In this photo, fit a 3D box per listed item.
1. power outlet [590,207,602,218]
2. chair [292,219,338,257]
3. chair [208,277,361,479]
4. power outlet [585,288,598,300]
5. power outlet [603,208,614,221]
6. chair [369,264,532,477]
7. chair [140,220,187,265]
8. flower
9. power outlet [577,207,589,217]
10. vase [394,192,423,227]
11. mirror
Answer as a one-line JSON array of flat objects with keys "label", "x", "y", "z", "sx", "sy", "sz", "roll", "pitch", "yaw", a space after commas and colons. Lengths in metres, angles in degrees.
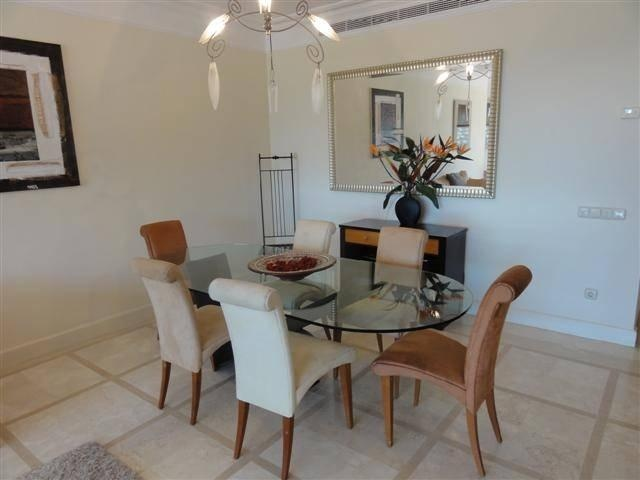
[{"label": "power outlet", "x": 2.464, "y": -0.251, "z": 4.145, "sx": 0.012, "sy": 0.102, "sz": 0.100, "roll": -7, "pitch": 7, "yaw": -44}, {"label": "chair", "x": -0.051, "y": -0.061, "z": 4.379, "sx": 0.331, "sy": 0.446, "sz": 0.358, "roll": 8, "pitch": 12, "yaw": 28}, {"label": "chair", "x": -0.222, "y": 0.831, "z": 3.095, "sx": 0.752, "sy": 1.284, "sz": 0.435, "roll": -14, "pitch": 18, "yaw": -40}, {"label": "power outlet", "x": 2.485, "y": 0.486, "z": 4.258, "sx": 0.096, "sy": 0.094, "sz": 0.023, "roll": 10, "pitch": 8, "yaw": 34}, {"label": "power outlet", "x": 2.540, "y": -0.232, "z": 4.098, "sx": 0.023, "sy": 0.093, "sz": 0.072, "roll": 6, "pitch": -15, "yaw": -45}, {"label": "chair", "x": 0.854, "y": 0.802, "z": 3.056, "sx": 0.892, "sy": 1.280, "sz": 0.443, "roll": 3, "pitch": 15, "yaw": 24}, {"label": "chair", "x": -1.455, "y": 0.016, "z": 4.335, "sx": 0.340, "sy": 0.384, "sz": 0.321, "roll": -15, "pitch": 23, "yaw": -43}, {"label": "flower", "x": 1.061, "y": -0.741, "z": 4.926, "sx": 0.888, "sy": 0.564, "sz": 0.836, "roll": -1, "pitch": 6, "yaw": 2}, {"label": "power outlet", "x": 2.380, "y": -0.257, "z": 4.200, "sx": 0.081, "sy": 0.076, "sz": 0.030, "roll": 0, "pitch": 0, "yaw": 33}, {"label": "vase", "x": 0.944, "y": -0.338, "z": 4.995, "sx": 0.329, "sy": 0.394, "sz": 0.330, "roll": 0, "pitch": 5, "yaw": 26}, {"label": "mirror", "x": 1.039, "y": -1.248, "z": 4.909, "sx": 1.830, "sy": 1.219, "sz": 0.045, "roll": 6, "pitch": 16, "yaw": 35}]
